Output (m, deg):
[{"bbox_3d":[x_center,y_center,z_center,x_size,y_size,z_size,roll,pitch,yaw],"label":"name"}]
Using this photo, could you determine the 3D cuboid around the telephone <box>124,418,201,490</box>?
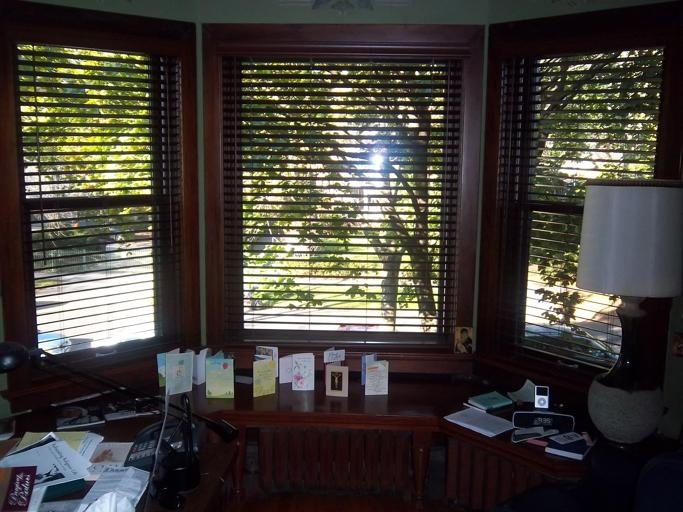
[{"bbox_3d":[-0.770,0.820,2.592,0.285,0.138,0.388,6,21,-18],"label":"telephone"}]

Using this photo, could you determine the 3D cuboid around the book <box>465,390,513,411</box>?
[{"bbox_3d":[0.837,0.821,3.279,0.123,0.028,0.120,-4,9,-41],"label":"book"}]
